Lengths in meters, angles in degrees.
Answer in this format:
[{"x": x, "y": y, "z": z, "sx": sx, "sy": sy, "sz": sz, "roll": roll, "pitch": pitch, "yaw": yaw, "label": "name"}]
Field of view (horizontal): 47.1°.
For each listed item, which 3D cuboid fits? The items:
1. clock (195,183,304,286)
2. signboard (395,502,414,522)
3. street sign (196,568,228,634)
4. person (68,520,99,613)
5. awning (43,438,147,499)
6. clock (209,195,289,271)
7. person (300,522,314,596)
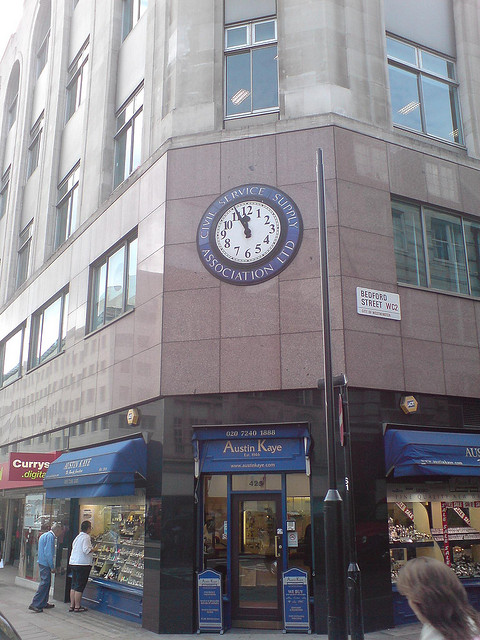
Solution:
[{"x": 0.275, "y": -1.717, "z": 11.537, "sx": 1.811, "sy": 2.001, "sz": 0.195, "roll": -10, "pitch": -21, "yaw": 9, "label": "clock"}, {"x": 3.228, "y": 3.760, "z": 10.743, "sx": 0.488, "sy": 0.350, "sz": 0.034, "roll": 15, "pitch": -24, "yaw": -38, "label": "signboard"}, {"x": -0.514, "y": 5.001, "z": 9.760, "sx": 0.534, "sy": 1.020, "sz": 0.267, "roll": 0, "pitch": -19, "yaw": -5, "label": "street sign"}, {"x": -3.455, "y": 5.361, "z": 11.947, "sx": 0.460, "sy": 1.863, "sz": 1.281, "roll": 4, "pitch": -20, "yaw": -14, "label": "person"}, {"x": -3.551, "y": 3.513, "z": 12.702, "sx": 0.663, "sy": 1.328, "sz": 3.692, "roll": 16, "pitch": -25, "yaw": -40, "label": "awning"}, {"x": 0.244, "y": -1.781, "z": 11.558, "sx": 1.397, "sy": 1.547, "sz": 0.117, "roll": 7, "pitch": -17, "yaw": 13, "label": "clock"}, {"x": 1.160, "y": 4.230, "z": 9.739, "sx": 0.260, "sy": 1.187, "sz": 0.127, "roll": -10, "pitch": -21, "yaw": 24, "label": "person"}]
